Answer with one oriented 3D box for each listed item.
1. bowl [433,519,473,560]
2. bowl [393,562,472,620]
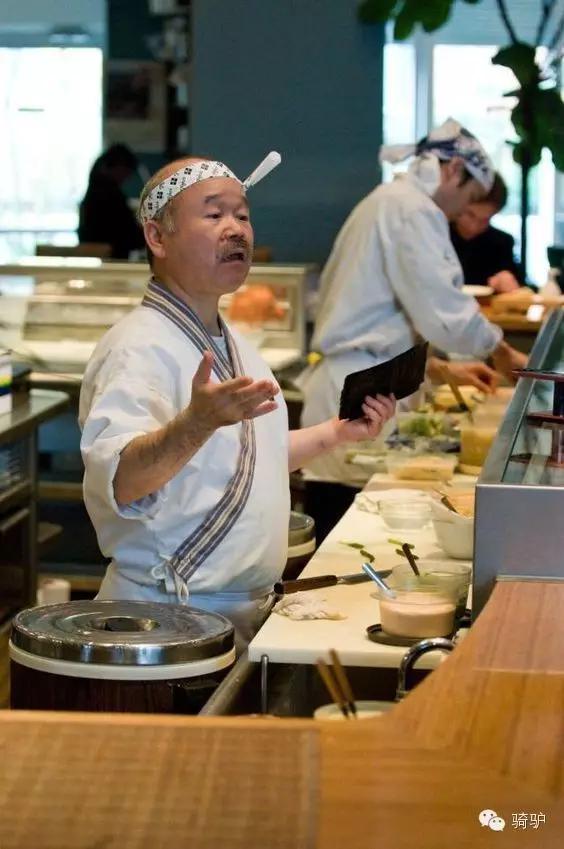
[{"bbox_3d":[0.314,0.210,1.494,0.083,0.050,0.076,-1,2,0],"label":"bowl"},{"bbox_3d":[0.222,0.243,1.206,0.081,0.035,0.092,-1,1,-22],"label":"bowl"}]
